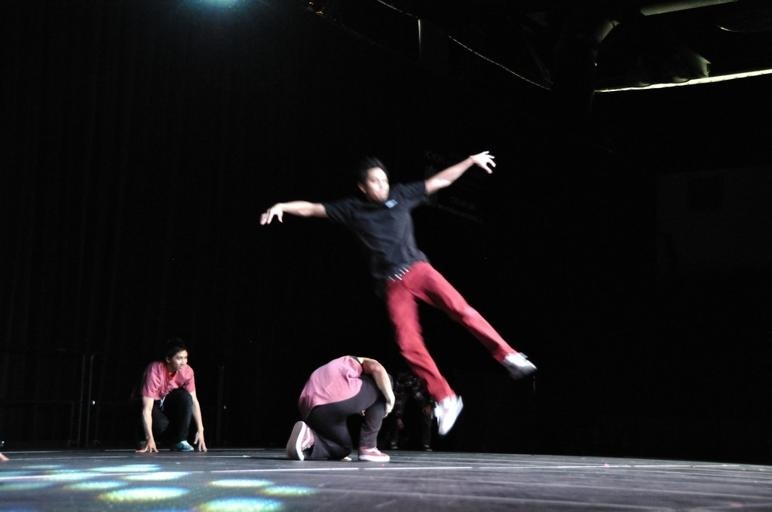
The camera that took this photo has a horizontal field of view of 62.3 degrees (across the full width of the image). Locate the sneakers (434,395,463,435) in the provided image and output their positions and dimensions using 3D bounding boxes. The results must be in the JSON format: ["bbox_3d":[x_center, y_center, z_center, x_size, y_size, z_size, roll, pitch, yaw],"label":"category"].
[{"bbox_3d":[0.473,1.166,4.887,0.260,0.337,0.132,8,-7,11],"label":"sneakers"}]

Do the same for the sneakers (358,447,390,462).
[{"bbox_3d":[-0.076,1.263,4.095,0.215,0.084,0.083,5,-13,-15],"label":"sneakers"}]

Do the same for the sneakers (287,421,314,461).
[{"bbox_3d":[-0.522,1.167,4.060,0.145,0.118,0.322,-25,27,15],"label":"sneakers"}]

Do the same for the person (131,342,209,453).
[{"bbox_3d":[-1.711,1.160,5.067,0.505,0.796,0.989,-3,-11,-18],"label":"person"}]

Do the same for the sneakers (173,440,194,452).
[{"bbox_3d":[-1.597,1.491,5.069,0.174,0.068,0.082,-2,-10,14],"label":"sneakers"}]

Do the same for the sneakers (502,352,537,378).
[{"bbox_3d":[1.040,0.830,4.950,0.208,0.189,0.473,-10,-11,20],"label":"sneakers"}]
